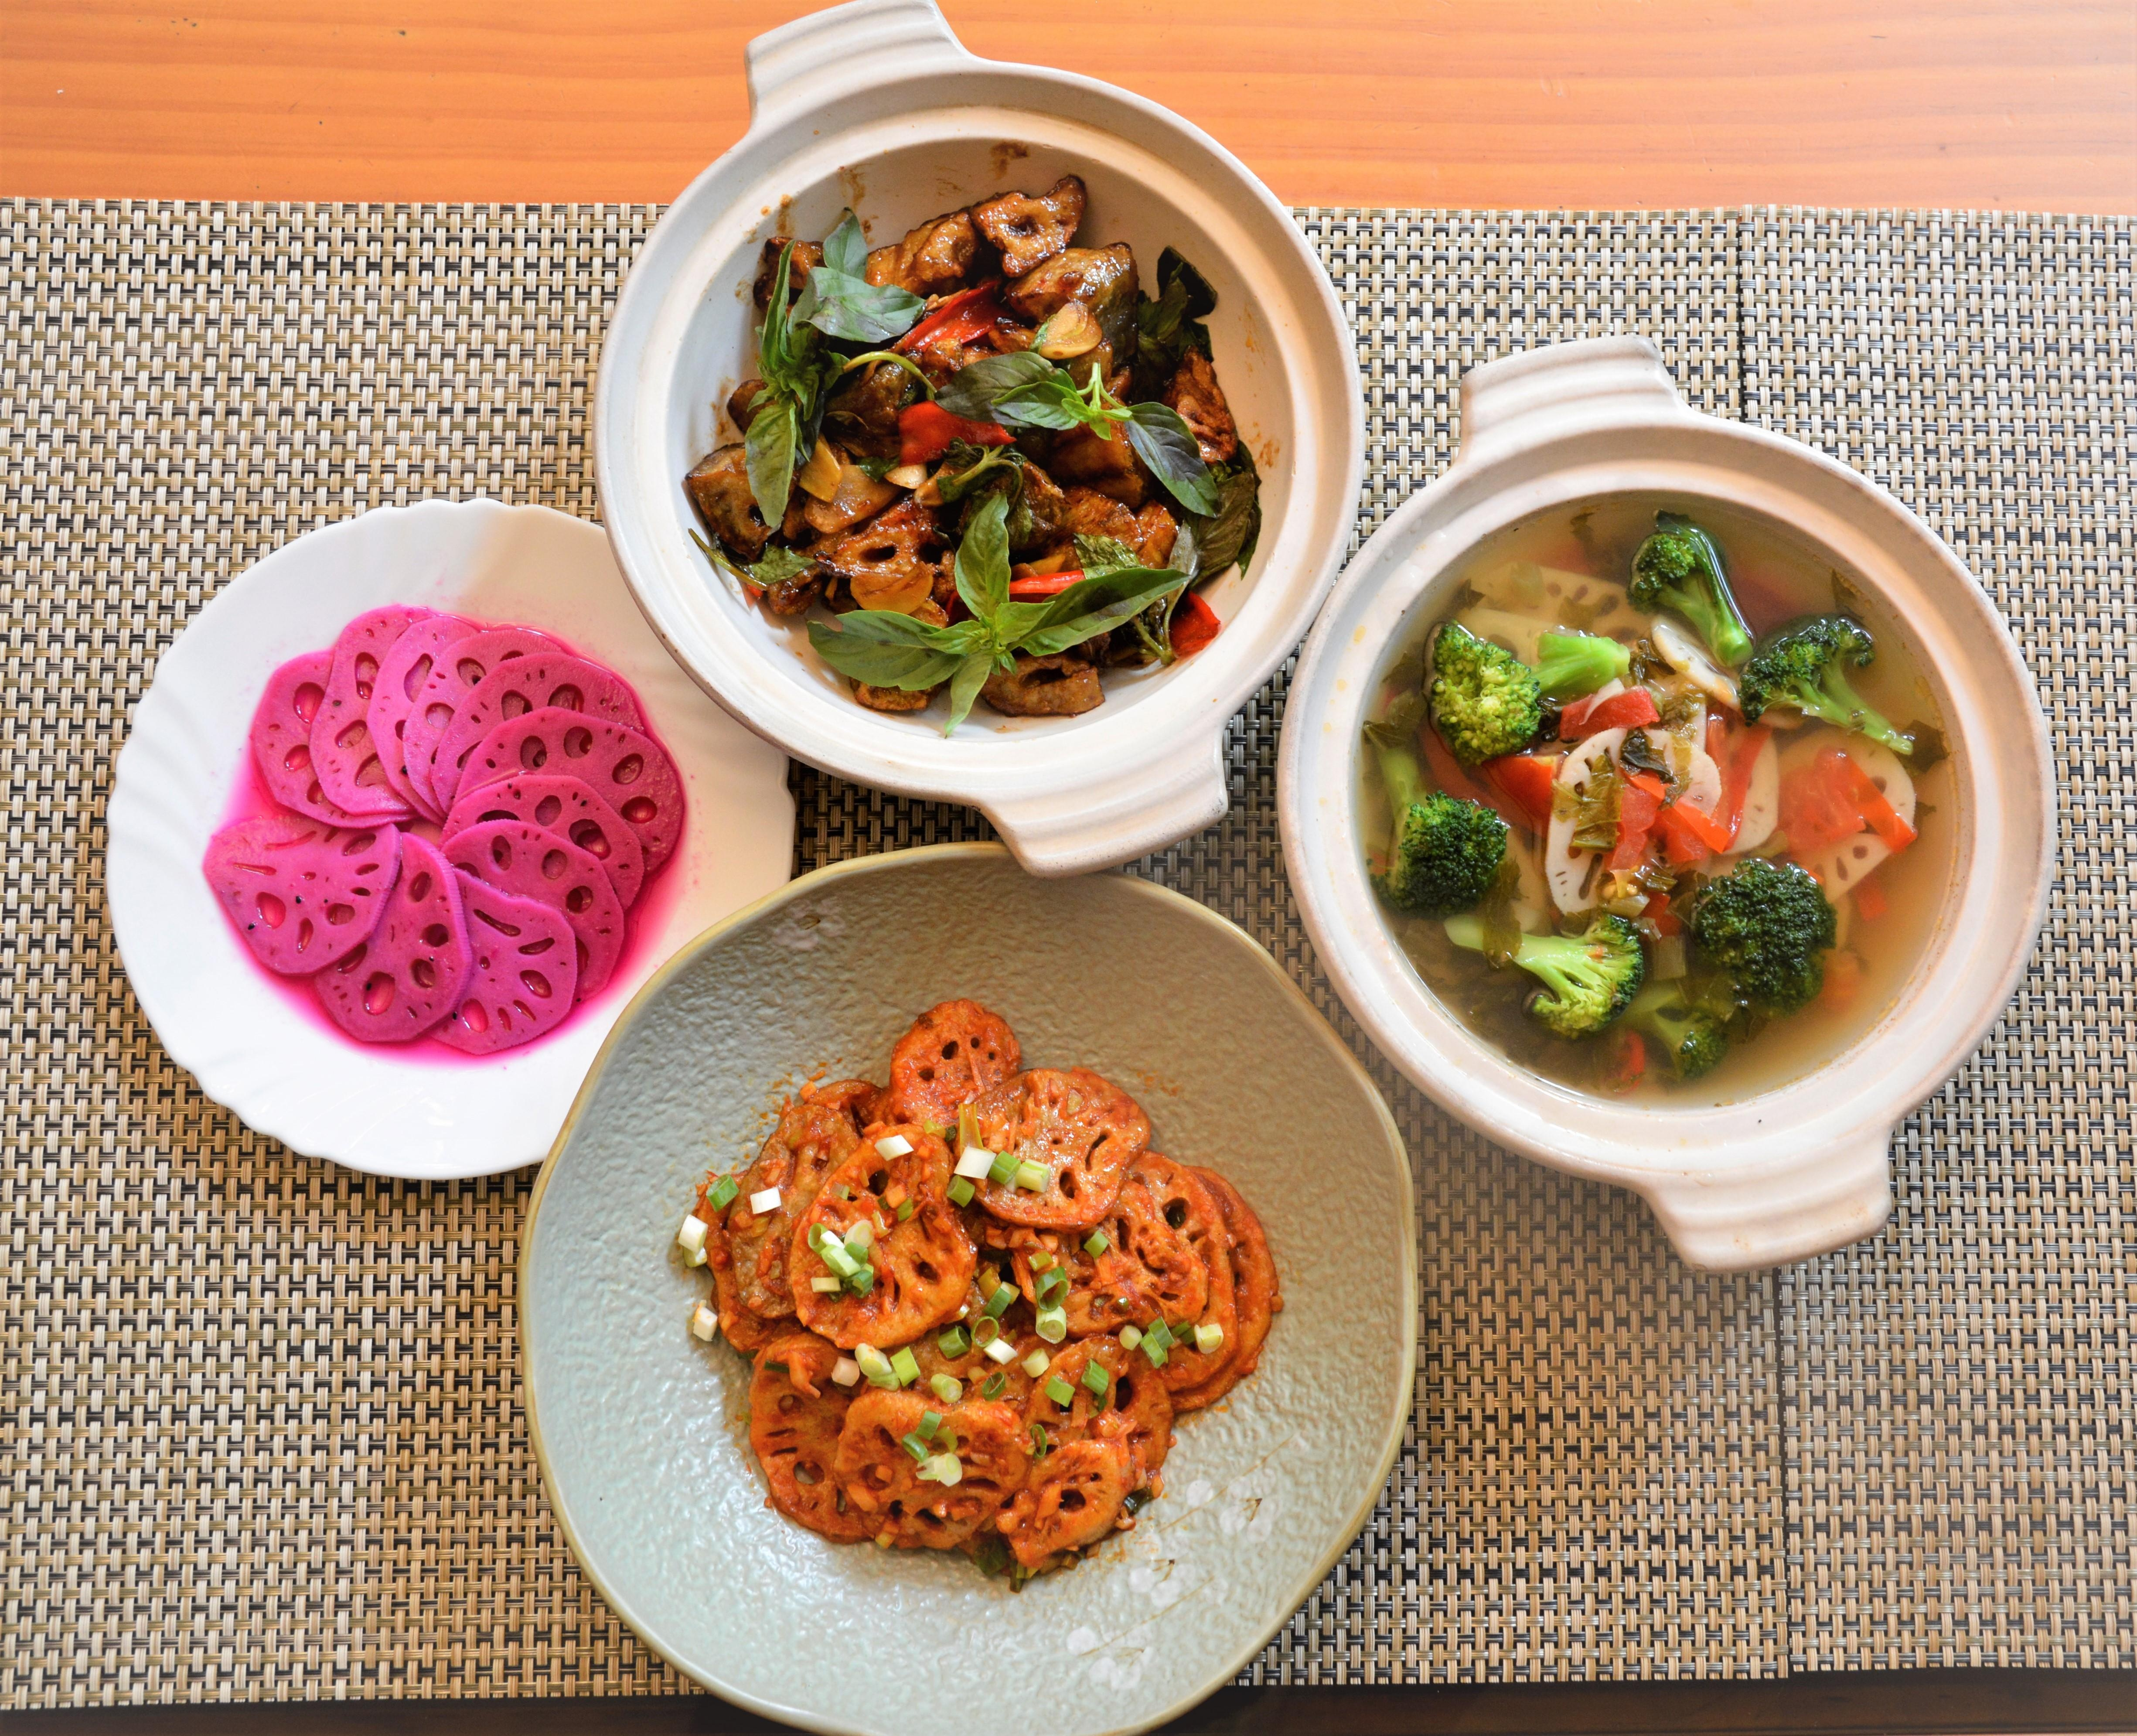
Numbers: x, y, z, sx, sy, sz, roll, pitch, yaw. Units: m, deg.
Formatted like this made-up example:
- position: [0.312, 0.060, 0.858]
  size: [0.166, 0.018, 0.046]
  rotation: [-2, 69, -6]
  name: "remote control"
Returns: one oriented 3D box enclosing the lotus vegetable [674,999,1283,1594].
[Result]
- position: [-0.126, 0.576, 3.200]
  size: [0.801, 0.140, 0.761]
  rotation: [-37, 84, -5]
  name: "lotus vegetable"
